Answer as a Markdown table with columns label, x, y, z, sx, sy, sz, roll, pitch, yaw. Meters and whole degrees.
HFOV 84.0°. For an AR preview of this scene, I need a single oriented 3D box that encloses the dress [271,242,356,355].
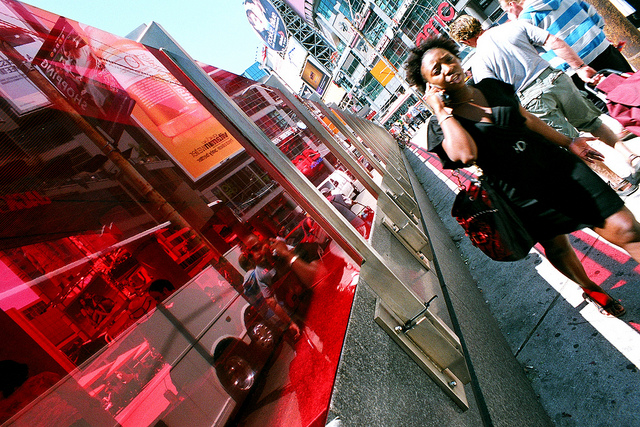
| label | x | y | z | sx | sy | sz | roll | pitch | yaw |
| --- | --- | --- | --- | --- | --- | --- | --- | --- | --- |
| dress | -0.055 | 0.344 | 1.633 | 0.117 | 0.538 | 0.378 | -33 | 25 | 35 |

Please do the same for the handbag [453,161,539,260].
| label | x | y | z | sx | sy | sz | roll | pitch | yaw |
| --- | --- | --- | --- | --- | --- | --- | --- | --- | --- |
| handbag | 0.999 | 0.047 | 2.068 | 0.255 | 0.496 | 0.239 | -42 | 11 | 0 |

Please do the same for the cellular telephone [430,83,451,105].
| label | x | y | z | sx | sy | sz | roll | pitch | yaw |
| --- | --- | --- | --- | --- | --- | --- | --- | --- | --- |
| cellular telephone | 0.744 | -0.728 | 2.181 | 0.032 | 0.122 | 0.130 | -16 | -11 | 0 |
